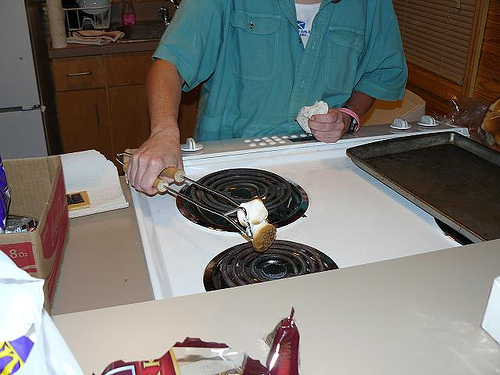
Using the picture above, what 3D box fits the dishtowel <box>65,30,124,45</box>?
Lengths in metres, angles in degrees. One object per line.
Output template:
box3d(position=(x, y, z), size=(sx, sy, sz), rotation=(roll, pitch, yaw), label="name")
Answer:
box3d(position=(-1.152, -1.117, 2.658), size=(0.388, 0.081, 0.238), rotation=(-3, 27, -8), label="dishtowel")

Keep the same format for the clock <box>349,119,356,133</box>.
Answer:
box3d(position=(0.368, -0.222, 1.292), size=(0.018, 0.043, 0.032), rotation=(22, -8, -2), label="clock")

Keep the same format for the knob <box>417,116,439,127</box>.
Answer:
box3d(position=(0.641, -0.242, 1.276), size=(0.051, 0.015, 0.048), rotation=(-10, 22, -23), label="knob")

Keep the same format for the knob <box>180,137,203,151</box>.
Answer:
box3d(position=(-0.188, -0.140, 1.108), size=(0.049, 0.021, 0.046), rotation=(-6, 25, -17), label="knob")
